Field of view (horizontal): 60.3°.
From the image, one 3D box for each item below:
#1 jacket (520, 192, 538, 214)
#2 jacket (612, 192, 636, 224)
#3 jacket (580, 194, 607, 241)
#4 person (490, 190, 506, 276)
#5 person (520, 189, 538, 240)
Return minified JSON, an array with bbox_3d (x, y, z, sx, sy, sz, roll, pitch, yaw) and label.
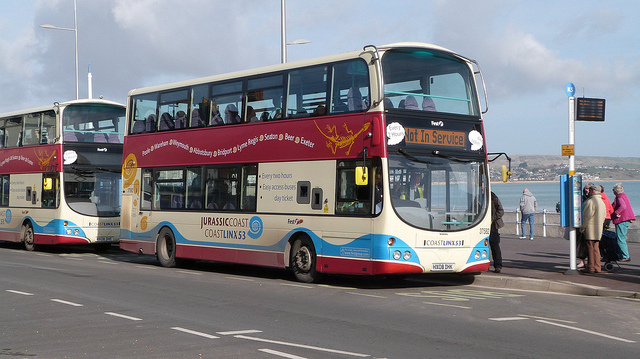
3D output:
[{"bbox_3d":[11.191,1.225,29.811,0.797,1.003,1.372,0,0,21],"label":"jacket"},{"bbox_3d":[10.878,1.087,19.944,0.978,1.322,1.246,-2,-1,28],"label":"jacket"},{"bbox_3d":[9.222,1.271,18.668,0.709,1.241,0.525,0,0,2],"label":"jacket"},{"bbox_3d":[5.932,1.765,18.625,0.411,2.451,0.766,0,0,17],"label":"person"},{"bbox_3d":[11.139,1.844,29.672,0.803,2.292,1.071,0,0,21],"label":"person"}]
